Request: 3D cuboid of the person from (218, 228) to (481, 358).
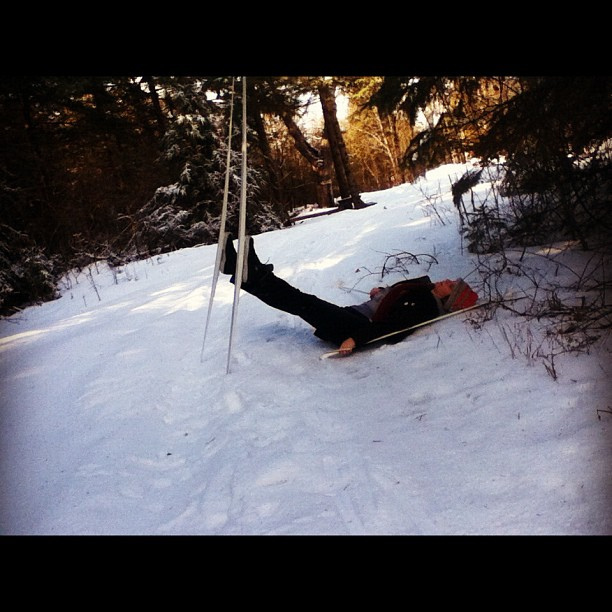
[{"bbox_3d":[0.361,-0.082,4.197,1.855,0.803,1.008,-1,17,7],"label":"person"}]
